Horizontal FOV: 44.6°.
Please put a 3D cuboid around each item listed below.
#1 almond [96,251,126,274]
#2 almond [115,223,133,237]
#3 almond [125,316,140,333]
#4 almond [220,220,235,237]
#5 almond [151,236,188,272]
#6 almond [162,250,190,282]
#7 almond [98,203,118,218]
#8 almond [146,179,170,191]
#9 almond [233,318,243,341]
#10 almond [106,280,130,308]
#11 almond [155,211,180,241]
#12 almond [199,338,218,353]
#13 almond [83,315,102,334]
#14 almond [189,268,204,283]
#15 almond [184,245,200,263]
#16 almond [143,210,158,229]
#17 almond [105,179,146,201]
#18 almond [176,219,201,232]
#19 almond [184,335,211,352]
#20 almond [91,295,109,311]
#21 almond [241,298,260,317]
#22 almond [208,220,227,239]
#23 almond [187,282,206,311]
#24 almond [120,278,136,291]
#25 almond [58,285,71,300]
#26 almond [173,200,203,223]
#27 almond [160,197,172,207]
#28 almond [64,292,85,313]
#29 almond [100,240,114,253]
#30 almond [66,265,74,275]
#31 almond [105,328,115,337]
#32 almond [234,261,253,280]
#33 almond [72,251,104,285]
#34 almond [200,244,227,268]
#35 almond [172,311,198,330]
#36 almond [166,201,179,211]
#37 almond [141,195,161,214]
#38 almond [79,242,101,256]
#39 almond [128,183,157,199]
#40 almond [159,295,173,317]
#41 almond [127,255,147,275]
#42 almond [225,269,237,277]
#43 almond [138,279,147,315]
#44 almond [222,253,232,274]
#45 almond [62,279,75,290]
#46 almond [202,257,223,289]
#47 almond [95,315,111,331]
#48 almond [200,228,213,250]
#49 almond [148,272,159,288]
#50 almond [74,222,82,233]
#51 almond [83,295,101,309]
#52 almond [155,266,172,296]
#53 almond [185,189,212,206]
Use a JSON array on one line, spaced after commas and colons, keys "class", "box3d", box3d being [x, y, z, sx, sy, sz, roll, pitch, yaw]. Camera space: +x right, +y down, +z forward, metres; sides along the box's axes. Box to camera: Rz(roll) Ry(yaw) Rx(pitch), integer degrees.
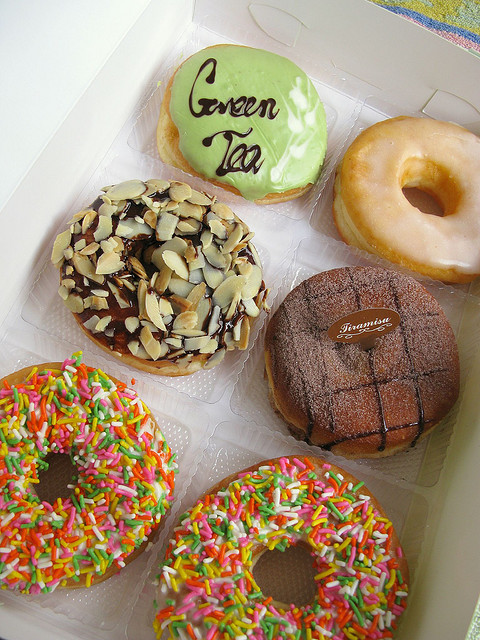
[{"class": "almond", "box3d": [-0.367, -0.159, 1.638, 0.078, 0.030, 0.055, -14, 63, -11]}, {"class": "almond", "box3d": [-0.332, -0.251, 1.665, 0.044, 0.010, 0.041, 19, 61, 7]}, {"class": "almond", "box3d": [-0.301, 0.013, 1.631, 0.041, 0.015, 0.040, 0, 76, 0]}, {"class": "almond", "box3d": [-0.037, -0.271, 1.739, 0.049, 0.012, 0.045, 18, 56, -27]}, {"class": "almond", "box3d": [-0.201, -0.186, 1.672, 0.111, 0.026, 0.064, -40, 73, -1]}, {"class": "almond", "box3d": [-0.196, -0.150, 1.674, 0.071, 0.021, 0.088, -30, 79, -40]}, {"class": "almond", "box3d": [-0.389, -0.318, 1.700, 0.048, 0.011, 0.040, 16, 88, 16]}, {"class": "almond", "box3d": [-0.237, -0.416, 1.778, 0.039, 0.014, 0.062, -21, 50, -30]}, {"class": "almond", "box3d": [-0.010, 0.034, 1.715, 0.017, 0.055, 0.049, 7, 109, 19]}, {"class": "almond", "box3d": [-0.343, -0.071, 1.629, 0.030, 0.004, 0.081, -31, 89, 22]}, {"class": "almond", "box3d": [-0.214, -0.268, 1.677, 0.050, 0.022, 0.079, 20, 72, 2]}, {"class": "almond", "box3d": [-0.085, 0.074, 1.683, 0.043, 0.010, 0.039, 11, 93, -23]}, {"class": "almond", "box3d": [-0.423, 0.010, 1.673, 0.052, 0.012, 0.048, 36, 107, 11]}, {"class": "almond", "box3d": [-0.125, -0.123, 1.655, 0.042, 0.010, 0.034, -6, 89, -22]}, {"class": "almond", "box3d": [-0.139, -0.186, 1.656, 0.043, 0.010, 0.047, 5, 80, 0]}, {"class": "almond", "box3d": [-0.258, -0.289, 1.691, 0.051, 0.012, 0.045, 29, 94, 11]}, {"class": "almond", "box3d": [-0.337, -0.386, 1.744, 0.101, 0.012, 0.074, -23, 41, -21]}, {"class": "almond", "box3d": [-0.151, -0.274, 1.695, 0.047, 0.012, 0.043, -14, 61, -9]}, {"class": "almond", "box3d": [-0.121, 0.065, 1.658, 0.079, 0.034, 0.027, -11, 64, -10]}, {"class": "almond", "box3d": [-0.394, -0.049, 1.650, 0.036, 0.031, 0.021, 16, 39, 13]}, {"class": "almond", "box3d": [0.028, -0.033, 1.739, 0.057, 0.016, 0.036, 57, 45, -8]}, {"class": "almond", "box3d": [-0.069, -0.263, 1.718, 0.045, 0.013, 0.055, -29, 95, -29]}, {"class": "almond", "box3d": [-0.120, -0.064, 1.645, 0.041, 0.019, 0.077, 30, 87, -2]}, {"class": "almond", "box3d": [-0.311, -0.098, 1.631, 0.046, 0.009, 0.021, 39, 54, 17]}, {"class": "almond", "box3d": [-0.507, -0.079, 1.686, 0.041, 0.009, 0.034, -1, 95, -1]}, {"class": "almond", "box3d": [-0.155, -0.320, 1.727, 0.079, 0.011, 0.054, 25, 66, -2]}, {"class": "almond", "box3d": [-0.217, -0.346, 1.721, 0.013, 0.013, 0.055, 18, 40, 12]}, {"class": "almond", "box3d": [-0.475, -0.049, 1.687, 0.057, 0.015, 0.058, -17, 93, 21]}, {"class": "almond", "box3d": [-0.374, -0.206, 1.639, 0.025, 0.008, 0.033, -10, 77, 2]}, {"class": "almond", "box3d": [-0.487, -0.142, 1.677, 0.026, 0.005, 0.022, -6, 76, 25]}, {"class": "almond", "box3d": [-0.368, 0.037, 1.654, 0.022, 0.005, 0.019, 1, 97, 8]}, {"class": "almond", "box3d": [0.010, -0.144, 1.703, 0.052, 0.014, 0.046, -19, 83, -29]}, {"class": "almond", "box3d": [-0.435, -0.146, 1.656, 0.103, 0.024, 0.061, 44, 81, 1]}, {"class": "almond", "box3d": [-0.076, -0.180, 1.678, 0.049, 0.009, 0.084, -41, 86, -17]}, {"class": "almond", "box3d": [-0.155, 0.001, 1.634, 0.070, 0.036, 0.042, -5, 62, -6]}, {"class": "almond", "box3d": [-0.195, -0.333, 1.715, 0.026, 0.007, 0.041, 34, 50, 14]}, {"class": "almond", "box3d": [-0.262, -0.337, 1.703, 0.026, 0.011, 0.082, -25, 68, -16]}, {"class": "almond", "box3d": [-0.424, -0.200, 1.653, 0.034, 0.013, 0.050, 34, 63, 27]}, {"class": "almond", "box3d": [-0.287, -0.386, 1.739, 0.063, 0.010, 0.049, 4, 62, 13]}, {"class": "almond", "box3d": [-0.204, -0.042, 1.612, 0.051, 0.012, 0.043, 3, 84, -37]}, {"class": "almond", "box3d": [-0.297, -0.155, 1.677, 0.051, 0.041, 0.012, 48, 111, 12]}, {"class": "almond", "box3d": [-0.026, -0.133, 1.686, 0.024, 0.005, 0.020, 3, 67, -7]}, {"class": "almond", "box3d": [-0.272, -0.066, 1.620, 0.024, 0.024, 0.085, 3, 96, 19]}, {"class": "almond", "box3d": [-0.033, -0.163, 1.685, 0.034, 0.007, 0.049, 1, 79, -20]}, {"class": "almond", "box3d": [-0.491, -0.104, 1.672, 0.028, 0.007, 0.028, 3, 68, 2]}, {"class": "almond", "box3d": [-0.081, -0.134, 1.664, 0.050, 0.016, 0.084, -16, 91, -14]}, {"class": "almond", "box3d": [-0.386, 0.008, 1.655, 0.026, 0.037, 0.049, 35, 65, 14]}, {"class": "almond", "box3d": [-0.097, -0.231, 1.689, 0.036, 0.013, 0.061, 0, 62, -2]}, {"class": "almond", "box3d": [-0.243, -0.113, 1.642, 0.032, 0.014, 0.032, 7, 88, 1]}, {"class": "almond", "box3d": [-0.473, -0.267, 1.704, 0.027, 0.006, 0.023, -5, 71, 21]}, {"class": "almond", "box3d": [-0.425, -0.048, 1.669, 0.037, 0.009, 0.035, -37, 92, 7]}, {"class": "almond", "box3d": [-0.215, -0.111, 1.636, 0.046, 0.019, 0.078, 9, 76, 13]}, {"class": "almond", "box3d": [-0.126, -0.369, 1.768, 0.060, 0.008, 0.056, -17, 54, -34]}]
